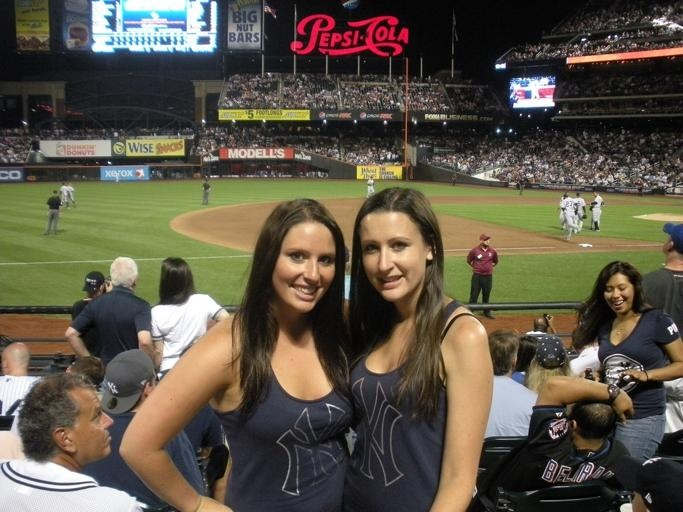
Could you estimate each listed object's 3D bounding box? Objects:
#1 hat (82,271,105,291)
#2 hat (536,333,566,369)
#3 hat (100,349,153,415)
[{"bbox_3d":[-3.004,0.329,8.390,0.217,0.180,0.304,2,14,3],"label":"hat"},{"bbox_3d":[1.697,0.795,5.577,0.232,0.292,0.351,0,4,14],"label":"hat"},{"bbox_3d":[-1.585,0.936,5.150,0.306,0.179,0.456,7,46,8],"label":"hat"}]
